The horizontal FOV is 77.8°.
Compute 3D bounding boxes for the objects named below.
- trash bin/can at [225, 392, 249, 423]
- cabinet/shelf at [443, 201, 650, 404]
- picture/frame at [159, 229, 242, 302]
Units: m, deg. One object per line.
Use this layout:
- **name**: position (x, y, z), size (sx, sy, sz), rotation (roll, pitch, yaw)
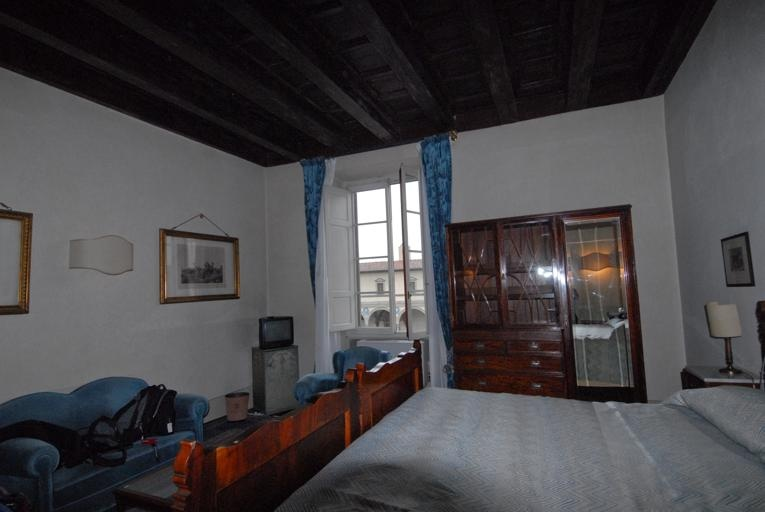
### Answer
- **trash bin/can**: position (-1.727, 1.783, 5.634), size (0.299, 0.327, 0.307), rotation (-3, -4, 19)
- **cabinet/shelf**: position (1.813, 0.529, 4.991), size (1.939, 2.471, 0.652), rotation (-2, -6, 18)
- **picture/frame**: position (-2.182, 0.141, 5.710), size (0.045, 0.861, 1.126), rotation (-4, -4, 32)
